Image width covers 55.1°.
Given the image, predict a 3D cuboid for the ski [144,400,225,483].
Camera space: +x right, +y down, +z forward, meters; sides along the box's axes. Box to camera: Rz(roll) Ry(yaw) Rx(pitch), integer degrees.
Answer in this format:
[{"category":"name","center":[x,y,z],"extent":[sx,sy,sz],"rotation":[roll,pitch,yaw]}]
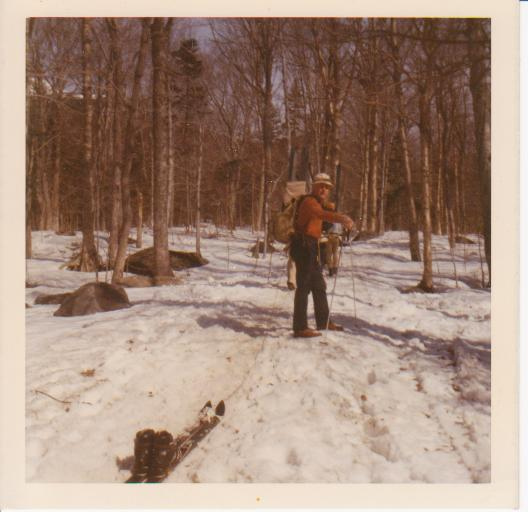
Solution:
[{"category":"ski","center":[-1.007,2.422,6.512],"extent":[0.186,0.191,1.203],"rotation":[13,38,26]}]

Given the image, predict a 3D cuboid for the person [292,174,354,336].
[{"category":"person","center":[0.971,-0.033,8.558],"extent":[0.827,2.756,1.032],"rotation":[1,3,-6]}]
